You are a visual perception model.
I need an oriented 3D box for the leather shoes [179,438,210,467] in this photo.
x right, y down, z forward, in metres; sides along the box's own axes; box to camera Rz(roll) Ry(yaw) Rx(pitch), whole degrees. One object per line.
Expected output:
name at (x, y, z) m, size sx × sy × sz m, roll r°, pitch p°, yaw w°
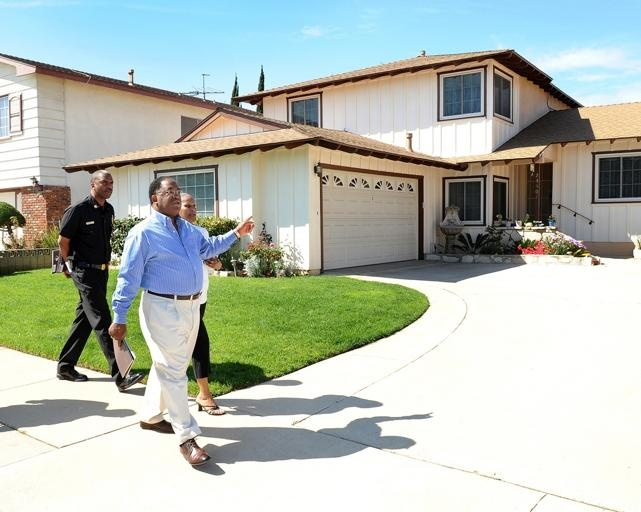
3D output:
leather shoes at (-1.003, 1.547, 4.433) m, size 0.120 × 0.143 × 0.326 m, roll -23°, pitch 3°, yaw -35°

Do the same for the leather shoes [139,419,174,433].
leather shoes at (-1.448, 1.508, 4.965) m, size 0.301 × 0.120 × 0.122 m, roll -1°, pitch -3°, yaw 11°

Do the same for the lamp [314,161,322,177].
lamp at (-0.085, -2.203, 14.203) m, size 0.111 × 0.363 × 0.298 m, roll 3°, pitch 10°, yaw 22°

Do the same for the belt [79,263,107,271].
belt at (-2.496, 0.112, 6.096) m, size 0.262 × 0.101 × 0.086 m, roll -7°, pitch 11°, yaw -35°

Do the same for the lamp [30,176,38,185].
lamp at (-9.866, -2.601, 19.167) m, size 0.478 × 0.297 × 0.130 m, roll 8°, pitch 12°, yaw 42°

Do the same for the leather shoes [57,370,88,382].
leather shoes at (-2.738, 1.292, 6.187) m, size 0.309 × 0.133 × 0.136 m, roll 2°, pitch -2°, yaw 0°

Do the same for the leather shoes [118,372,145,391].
leather shoes at (-2.010, 1.309, 5.868) m, size 0.290 × 0.145 × 0.096 m, roll -35°, pitch 15°, yaw 18°

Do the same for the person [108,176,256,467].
person at (-1.229, 0.463, 4.769) m, size 0.853 × 2.236 × 0.877 m, roll 3°, pitch 10°, yaw 22°
